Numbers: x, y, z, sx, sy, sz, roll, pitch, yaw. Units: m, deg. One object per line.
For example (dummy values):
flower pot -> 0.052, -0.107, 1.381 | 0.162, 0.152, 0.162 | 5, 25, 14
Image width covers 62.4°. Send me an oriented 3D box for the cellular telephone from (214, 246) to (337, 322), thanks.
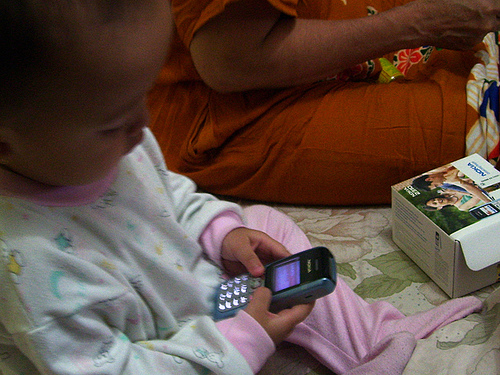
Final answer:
cellular telephone -> 0.053, 0.183, 0.762 | 0.246, 0.039, 0.103 | -20, 39, 18
